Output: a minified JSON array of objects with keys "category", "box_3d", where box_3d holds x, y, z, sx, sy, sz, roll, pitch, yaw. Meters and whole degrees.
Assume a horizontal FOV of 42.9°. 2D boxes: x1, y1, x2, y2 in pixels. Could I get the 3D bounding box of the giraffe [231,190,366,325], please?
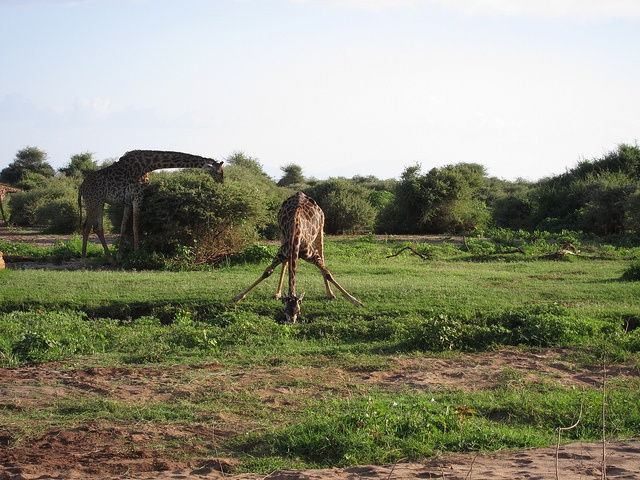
[{"category":"giraffe","box_3d":[-0.655,0.310,20.433,2.737,2.810,4.560,0,13,4]}]
